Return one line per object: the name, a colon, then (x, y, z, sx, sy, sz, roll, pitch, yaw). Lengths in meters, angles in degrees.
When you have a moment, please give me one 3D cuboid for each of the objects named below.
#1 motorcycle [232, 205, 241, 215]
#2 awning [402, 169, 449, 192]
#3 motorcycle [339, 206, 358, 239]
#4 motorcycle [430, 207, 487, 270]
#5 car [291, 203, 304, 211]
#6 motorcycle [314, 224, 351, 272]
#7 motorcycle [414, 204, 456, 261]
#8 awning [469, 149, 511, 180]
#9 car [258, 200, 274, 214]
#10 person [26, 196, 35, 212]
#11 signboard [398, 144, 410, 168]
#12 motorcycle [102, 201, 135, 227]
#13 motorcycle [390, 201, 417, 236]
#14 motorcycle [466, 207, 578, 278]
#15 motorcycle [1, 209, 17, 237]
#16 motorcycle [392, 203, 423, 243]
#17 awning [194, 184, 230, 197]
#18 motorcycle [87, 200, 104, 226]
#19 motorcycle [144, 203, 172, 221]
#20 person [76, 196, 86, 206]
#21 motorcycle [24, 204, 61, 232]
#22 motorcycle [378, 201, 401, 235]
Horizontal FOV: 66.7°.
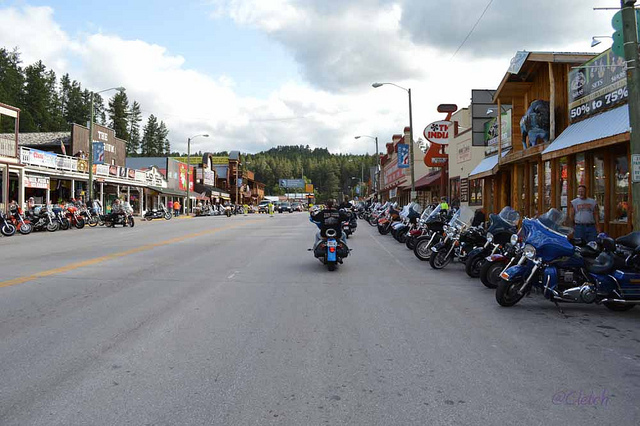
motorcycle: (-11.159, -0.502, 64.465, 0.723, 1.422, 3.665, -1, 7, -12)
awning: (9.361, -2.614, 41.837, 2.403, 2.140, 11.524, 2, 7, 10)
motorcycle: (1.331, 0.459, 22.814, 0.832, 1.128, 1.944, 1, 5, 5)
motorcycle: (4.116, 0.637, 13.527, 2.526, 1.654, 1.154, -5, 12, -27)
car: (-4.538, -1.305, 93.977, 1.592, 1.194, 3.073, -2, -4, 4)
motorcycle: (0.294, 0.931, 13.282, 0.708, 1.238, 0.784, 6, 9, 39)
motorcycle: (3.457, 0.644, 15.474, 1.586, 1.132, 0.948, -1, 7, -19)
awning: (8.130, -2.274, 23.905, 0.905, 0.673, 2.134, -19, -1, -3)
car: (-9.974, -1.144, 89.082, 2.345, 2.366, 4.089, -2, -4, 1)
person: (-16.699, -0.521, 28.082, 0.404, 1.122, 0.887, -7, 10, -34)
signboard: (8.082, -5.616, 47.616, 1.026, 2.248, 2.719, 2, 7, 9)
motorcycle: (-12.463, 0.061, 30.130, 2.332, 1.593, 1.059, -1, -7, 16)
motorcycle: (3.826, 0.128, 20.355, 1.716, 1.052, 0.756, -4, 14, -30)
motorcycle: (4.238, 0.663, 10.352, 2.322, 1.425, 1.474, 2, 6, -15)
motorcycle: (-15.124, 0.537, 23.624, 0.579, 1.142, 0.914, -4, 8, -35)
motorcycle: (3.645, 0.406, 20.362, 1.791, 1.214, 1.107, -2, 2, -27)
awning: (-18.620, -3.841, 83.464, 2.902, 2.933, 12.797, 1, 7, 2)
motorcycle: (-15.001, -0.149, 32.044, 1.227, 1.464, 2.234, 0, -3, -16)
motorcycle: (-14.036, 0.081, 42.169, 1.782, 1.156, 1.175, -6, 13, -20)
person: (-16.775, -0.846, 34.138, 0.578, 0.758, 0.290, -17, -15, 33)
motorcycle: (-15.271, 0.283, 26.531, 2.073, 1.479, 1.016, -3, -8, 3)
motorcycle: (3.727, 0.294, 25.113, 1.607, 1.075, 0.909, 0, 1, -43)
